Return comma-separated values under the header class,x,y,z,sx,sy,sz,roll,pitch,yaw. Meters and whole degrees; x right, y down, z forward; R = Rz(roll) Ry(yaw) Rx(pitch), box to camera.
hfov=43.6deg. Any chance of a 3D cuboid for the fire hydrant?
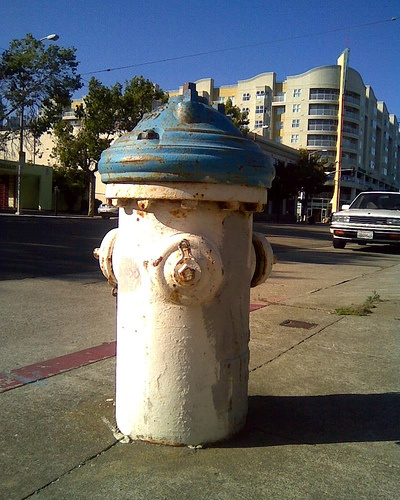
class,x,y,z,sx,sy,sz,roll,pitch,yaw
fire hydrant,-0.062,0.048,2.271,0.811,1.602,0.504,1,5,-12
